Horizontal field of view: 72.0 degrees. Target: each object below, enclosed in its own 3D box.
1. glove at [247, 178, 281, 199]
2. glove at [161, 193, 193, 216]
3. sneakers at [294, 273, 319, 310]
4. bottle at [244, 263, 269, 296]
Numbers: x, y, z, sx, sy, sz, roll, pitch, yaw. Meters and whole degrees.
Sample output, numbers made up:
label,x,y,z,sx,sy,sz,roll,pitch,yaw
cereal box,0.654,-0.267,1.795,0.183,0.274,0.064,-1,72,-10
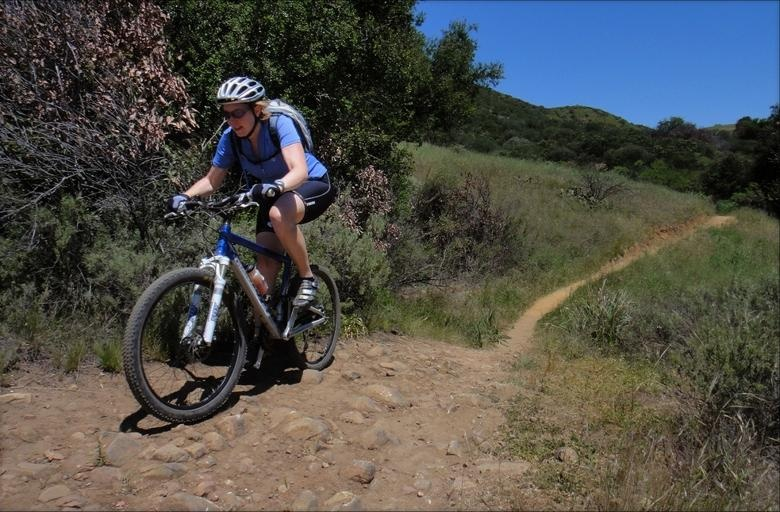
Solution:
label,x,y,z,sx,sy,sz,roll,pitch,yaw
glove,-1.338,-0.705,5.789,0.306,0.255,0.223,6,18,-35
glove,-2.312,-0.551,5.896,0.245,0.218,0.241,10,16,-25
sneakers,-1.021,0.437,6.582,0.203,0.195,0.451,-3,30,7
bottle,-1.573,0.322,6.394,0.261,0.121,0.376,35,31,-41
